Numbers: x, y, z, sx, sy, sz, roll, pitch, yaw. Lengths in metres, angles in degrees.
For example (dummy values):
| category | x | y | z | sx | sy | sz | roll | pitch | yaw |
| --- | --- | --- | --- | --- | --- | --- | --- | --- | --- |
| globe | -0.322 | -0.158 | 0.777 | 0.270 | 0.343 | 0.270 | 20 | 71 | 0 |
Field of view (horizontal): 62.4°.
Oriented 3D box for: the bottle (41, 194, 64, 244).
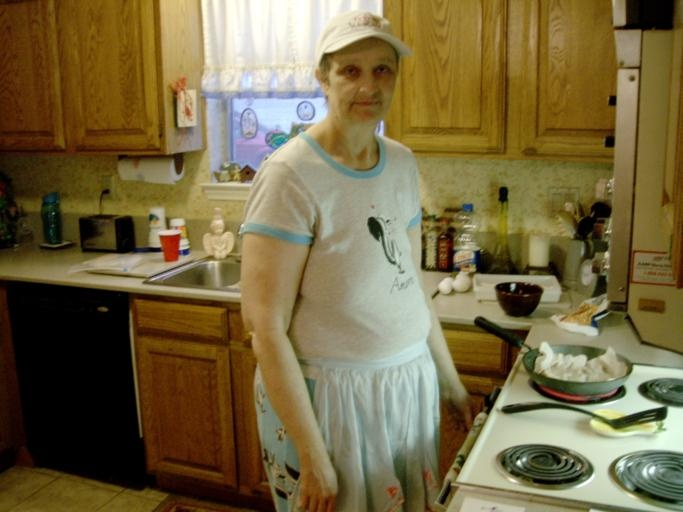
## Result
| category | x | y | z | sx | sy | sz | roll | pitch | yaw |
| --- | --- | --- | --- | --- | --- | --- | --- | --- | --- |
| bottle | -1.792 | -0.236 | 3.500 | 0.109 | 0.314 | 0.162 | -6 | 13 | -26 |

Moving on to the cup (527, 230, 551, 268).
| category | x | y | z | sx | sy | sz | roll | pitch | yaw |
| --- | --- | --- | --- | --- | --- | --- | --- | --- | --- |
| cup | 0.951 | -0.028 | 2.723 | 0.095 | 0.153 | 0.136 | 4 | 13 | 22 |

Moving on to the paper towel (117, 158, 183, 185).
| category | x | y | z | sx | sy | sz | roll | pitch | yaw |
| --- | --- | --- | --- | --- | --- | --- | --- | --- | --- |
| paper towel | -1.101 | -0.494 | 3.210 | 0.338 | 0.139 | 0.120 | 1 | 12 | 7 |

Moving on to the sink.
| category | x | y | z | sx | sy | sz | roll | pitch | yaw |
| --- | --- | --- | --- | --- | --- | --- | --- | --- | --- |
| sink | -0.748 | 0.098 | 2.988 | 0.221 | 0.109 | 0.286 | 5 | 16 | 16 |

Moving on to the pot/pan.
| category | x | y | z | sx | sy | sz | roll | pitch | yaw |
| --- | --- | --- | --- | --- | --- | --- | --- | --- | --- |
| pot/pan | 0.549 | 0.240 | 1.508 | 0.165 | 0.048 | 0.303 | -11 | 14 | -31 |

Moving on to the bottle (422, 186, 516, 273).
| category | x | y | z | sx | sy | sz | roll | pitch | yaw |
| --- | --- | --- | --- | --- | --- | --- | --- | --- | --- |
| bottle | 0.657 | -0.122 | 2.847 | 0.400 | 0.403 | 0.138 | 0 | -3 | 9 |

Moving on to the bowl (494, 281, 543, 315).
| category | x | y | z | sx | sy | sz | roll | pitch | yaw |
| --- | --- | --- | --- | --- | --- | --- | --- | --- | --- |
| bowl | 0.709 | 0.189 | 2.268 | 0.168 | 0.109 | 0.178 | -4 | 11 | 1 |

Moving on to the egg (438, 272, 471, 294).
| category | x | y | z | sx | sy | sz | roll | pitch | yaw |
| --- | --- | --- | --- | --- | --- | --- | --- | --- | --- |
| egg | 0.514 | 0.127 | 2.554 | 0.076 | 0.052 | 0.144 | -5 | 12 | 29 |
